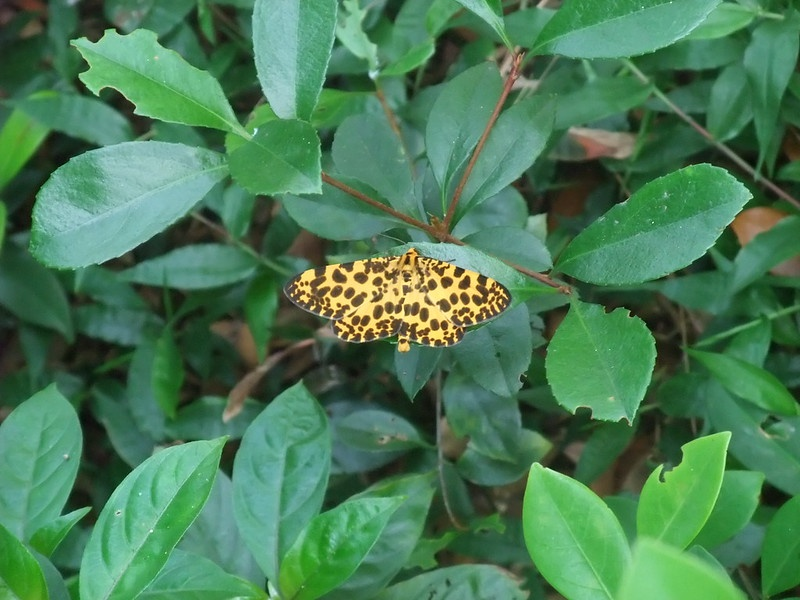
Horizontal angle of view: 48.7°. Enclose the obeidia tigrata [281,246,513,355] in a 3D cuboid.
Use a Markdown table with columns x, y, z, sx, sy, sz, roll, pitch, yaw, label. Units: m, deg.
| x | y | z | sx | sy | sz | roll | pitch | yaw | label |
| --- | --- | --- | --- | --- | --- | --- | --- | --- | --- |
| -0.002 | -0.010 | 1.057 | 0.048 | 0.267 | 0.128 | 17 | 108 | 40 | obeidia tigrata |
